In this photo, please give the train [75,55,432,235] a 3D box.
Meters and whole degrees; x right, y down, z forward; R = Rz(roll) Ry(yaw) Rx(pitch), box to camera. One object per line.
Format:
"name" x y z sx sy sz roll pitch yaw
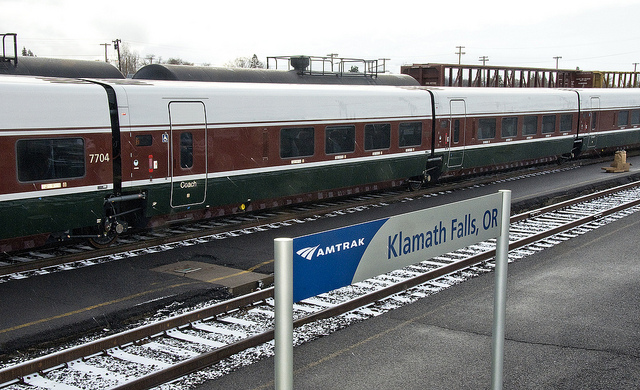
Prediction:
"train" -1.354 -2.339 17.654 16.885 4.835 4.285 -11 24 -44
